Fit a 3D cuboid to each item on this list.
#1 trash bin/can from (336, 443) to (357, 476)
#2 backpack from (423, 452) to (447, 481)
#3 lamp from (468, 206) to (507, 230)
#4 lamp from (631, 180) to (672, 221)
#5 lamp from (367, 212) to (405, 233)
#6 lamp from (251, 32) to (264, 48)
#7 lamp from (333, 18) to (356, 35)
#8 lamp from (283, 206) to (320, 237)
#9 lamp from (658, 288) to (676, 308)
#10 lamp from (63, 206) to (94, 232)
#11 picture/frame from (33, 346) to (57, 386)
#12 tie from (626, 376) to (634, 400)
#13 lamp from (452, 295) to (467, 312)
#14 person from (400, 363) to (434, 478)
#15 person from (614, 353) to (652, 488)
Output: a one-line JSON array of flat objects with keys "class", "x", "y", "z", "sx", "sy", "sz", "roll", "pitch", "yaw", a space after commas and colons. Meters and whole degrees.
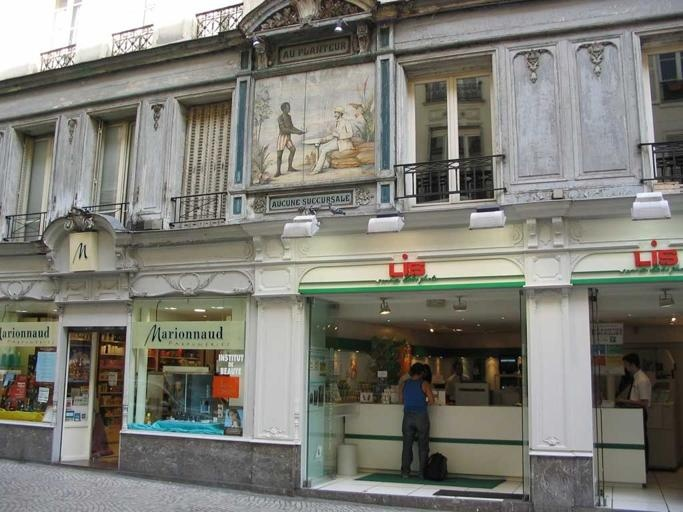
[{"class": "trash bin/can", "x": 0.157, "y": 4.151, "z": 15.252, "sx": 0.511, "sy": 0.605, "sz": 0.526, "roll": 0, "pitch": -8, "yaw": 4}, {"class": "backpack", "x": 1.801, "y": 4.112, "z": 14.560, "sx": 0.433, "sy": 0.477, "sz": 0.246, "roll": 2, "pitch": -32, "yaw": 16}, {"class": "lamp", "x": 2.567, "y": -0.668, "z": 13.154, "sx": 0.588, "sy": 0.389, "sz": 0.491, "roll": -4, "pitch": -8, "yaw": 17}, {"class": "lamp", "x": 5.094, "y": -0.856, "z": 12.345, "sx": 0.588, "sy": 0.560, "sz": 0.739, "roll": -5, "pitch": -8, "yaw": 21}, {"class": "lamp", "x": 0.802, "y": -0.606, "z": 13.581, "sx": 0.689, "sy": 0.366, "sz": 0.544, "roll": -2, "pitch": -7, "yaw": 4}, {"class": "lamp", "x": -1.701, "y": -4.315, "z": 15.042, "sx": 0.240, "sy": 0.128, "sz": 0.223, "roll": -1, "pitch": 2, "yaw": -5}, {"class": "lamp", "x": 0.049, "y": -4.516, "z": 14.636, "sx": 0.404, "sy": 0.173, "sz": 0.340, "roll": -2, "pitch": -7, "yaw": 2}, {"class": "lamp", "x": -0.763, "y": -0.649, "z": 14.025, "sx": 0.617, "sy": 0.636, "sz": 0.693, "roll": -3, "pitch": -7, "yaw": 9}, {"class": "lamp", "x": 5.950, "y": 0.765, "z": 13.664, "sx": 0.264, "sy": 0.296, "sz": 0.692, "roll": -5, "pitch": -8, "yaw": 24}, {"class": "lamp", "x": -5.638, "y": -0.768, "z": 15.970, "sx": 0.570, "sy": 0.566, "sz": 0.246, "roll": 1, "pitch": 0, "yaw": 14}, {"class": "picture/frame", "x": -6.575, "y": 2.444, "z": 16.516, "sx": 0.582, "sy": 0.734, "sz": 0.059, "roll": -5, "pitch": -8, "yaw": 26}, {"class": "tie", "x": 5.915, "y": 2.700, "z": 15.303, "sx": 0.084, "sy": 0.121, "sz": 0.543, "roll": 6, "pitch": -38, "yaw": 27}, {"class": "lamp", "x": 2.334, "y": 0.942, "z": 14.794, "sx": 0.318, "sy": 0.314, "sz": 0.326, "roll": -3, "pitch": -5, "yaw": 29}, {"class": "person", "x": 1.500, "y": 3.252, "z": 14.937, "sx": 0.630, "sy": 2.185, "sz": 0.465, "roll": -4, "pitch": -8, "yaw": 17}, {"class": "person", "x": 5.951, "y": 3.199, "z": 15.153, "sx": 0.646, "sy": 2.410, "sz": 1.577, "roll": -5, "pitch": -8, "yaw": 21}]
